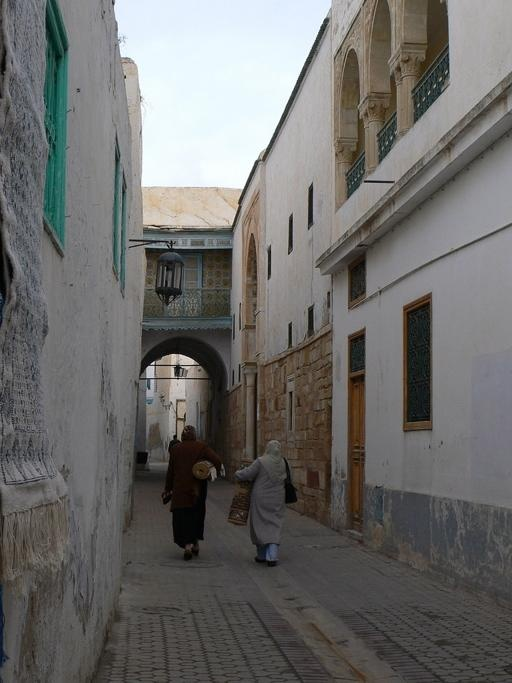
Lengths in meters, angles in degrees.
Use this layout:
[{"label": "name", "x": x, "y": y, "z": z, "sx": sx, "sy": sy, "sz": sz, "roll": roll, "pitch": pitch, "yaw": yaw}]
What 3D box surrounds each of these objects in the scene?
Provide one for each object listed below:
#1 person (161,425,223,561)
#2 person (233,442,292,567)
[{"label": "person", "x": -0.832, "y": 1.844, "z": 9.018, "sx": 0.686, "sy": 1.666, "sz": 1.075, "roll": 3, "pitch": -8, "yaw": -9}, {"label": "person", "x": 0.101, "y": 1.876, "z": 8.588, "sx": 0.688, "sy": 1.492, "sz": 0.851, "roll": 4, "pitch": -8, "yaw": -15}]
